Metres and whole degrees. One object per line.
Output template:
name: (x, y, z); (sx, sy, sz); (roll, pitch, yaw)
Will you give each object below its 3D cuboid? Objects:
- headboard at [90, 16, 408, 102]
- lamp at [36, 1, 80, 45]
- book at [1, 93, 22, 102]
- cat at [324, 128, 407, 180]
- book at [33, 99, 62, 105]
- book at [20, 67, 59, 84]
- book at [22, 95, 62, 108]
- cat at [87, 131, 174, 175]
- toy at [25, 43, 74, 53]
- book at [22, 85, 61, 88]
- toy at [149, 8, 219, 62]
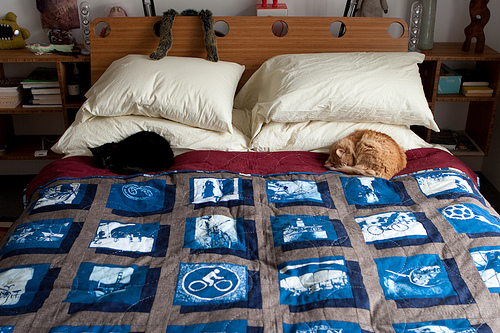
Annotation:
headboard: (-0.008, -0.778, 2.400); (2.170, 0.524, 0.322); (-2, 26, -4)
lamp: (-1.380, -1.043, 2.481); (0.226, 0.285, 0.183); (6, 27, 14)
book: (-1.688, -0.488, 2.432); (0.131, 0.036, 0.060); (-15, 28, -28)
cat: (0.644, -0.086, 1.929); (0.463, 0.160, 0.346); (-12, 35, -11)
book: (-1.437, -0.463, 2.435); (0.090, 0.019, 0.085); (-1, 5, 3)
book: (-1.506, -0.668, 2.499); (0.243, 0.080, 0.319); (-8, 25, -15)
book: (-1.509, -0.455, 2.442); (0.328, 0.061, 0.136); (11, 27, 24)
cat: (-0.657, -0.064, 1.908); (0.390, 0.082, 0.243); (-16, 54, -21)
toy: (-1.403, -0.832, 2.395); (0.243, 0.046, 0.141); (-4, 16, -9)
book: (-1.470, -0.565, 2.408); (0.108, 0.020, 0.104); (2, 10, 11)
toy: (-0.430, -0.846, 2.203); (0.422, 0.307, 0.335); (-5, 26, -9)
